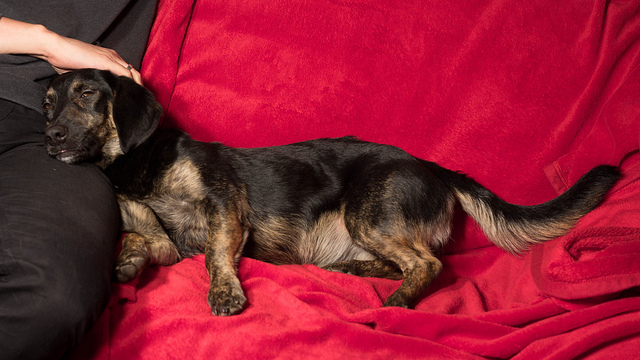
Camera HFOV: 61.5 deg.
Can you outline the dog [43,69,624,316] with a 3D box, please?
[{"bbox_3d":[0.179,0.135,3.920,3.729,0.932,1.308,7,62,-10],"label":"dog"}]
